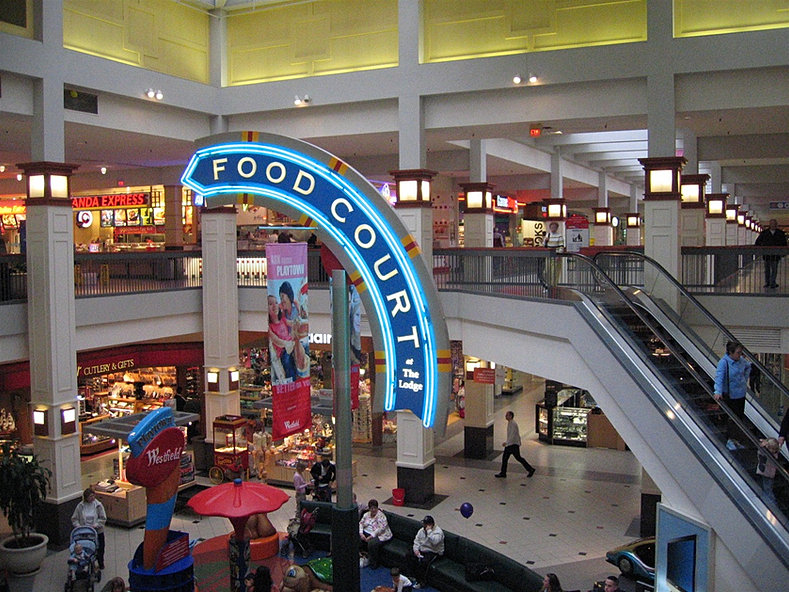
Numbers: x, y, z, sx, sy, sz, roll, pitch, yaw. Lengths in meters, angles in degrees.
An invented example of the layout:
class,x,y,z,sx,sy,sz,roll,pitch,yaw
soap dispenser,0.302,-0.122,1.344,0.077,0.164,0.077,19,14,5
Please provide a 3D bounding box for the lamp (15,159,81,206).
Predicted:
class,x,y,z,sx,sy,sz,roll,pitch,yaw
lamp,-6.857,-2.210,13.314,0.873,0.850,0.872,4,6,36

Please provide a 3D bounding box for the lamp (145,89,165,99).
class,x,y,z,sx,sy,sz,roll,pitch,yaw
lamp,-5.438,-4.553,15.116,0.324,0.148,0.316,0,0,-37

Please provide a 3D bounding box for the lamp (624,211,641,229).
class,x,y,z,sx,sy,sz,roll,pitch,yaw
lamp,11.322,-3.590,31.859,0.766,0.802,0.799,1,7,23

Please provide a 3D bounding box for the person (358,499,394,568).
class,x,y,z,sx,sy,sz,roll,pitch,yaw
person,-0.442,4.268,12.175,0.564,1.070,0.629,2,7,33

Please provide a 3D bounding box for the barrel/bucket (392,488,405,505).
class,x,y,z,sx,sy,sz,roll,pitch,yaw
barrel/bucket,0.041,4.408,14.800,0.293,0.309,0.303,1,-2,0

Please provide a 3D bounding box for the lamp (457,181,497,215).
class,x,y,z,sx,sy,sz,roll,pitch,yaw
lamp,2.248,-2.602,18.333,0.939,0.956,0.950,0,1,34

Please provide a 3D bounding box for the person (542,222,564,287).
class,x,y,z,sx,sy,sz,roll,pitch,yaw
person,2.941,-0.863,12.329,0.340,1.498,0.294,2,40,17

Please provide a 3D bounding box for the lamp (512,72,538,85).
class,x,y,z,sx,sy,sz,roll,pitch,yaw
lamp,2.726,-4.505,13.957,0.561,0.187,0.201,3,6,16

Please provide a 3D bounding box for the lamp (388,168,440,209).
class,x,y,z,sx,sy,sz,roll,pitch,yaw
lamp,0.407,-2.377,15.081,0.863,0.888,0.860,0,3,16

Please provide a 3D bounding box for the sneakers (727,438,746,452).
class,x,y,z,sx,sy,sz,roll,pitch,yaw
sneakers,4.596,2.008,9.041,0.148,0.055,0.149,26,3,-40

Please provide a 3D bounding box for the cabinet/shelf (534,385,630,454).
class,x,y,z,sx,sy,sz,roll,pitch,yaw
cabinet/shelf,5.117,3.507,19.507,1.876,0.989,2.445,4,2,5

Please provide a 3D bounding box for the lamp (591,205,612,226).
class,x,y,z,sx,sy,sz,roll,pitch,yaw
lamp,8.460,-3.234,27.428,1.056,1.084,1.092,-1,4,13
